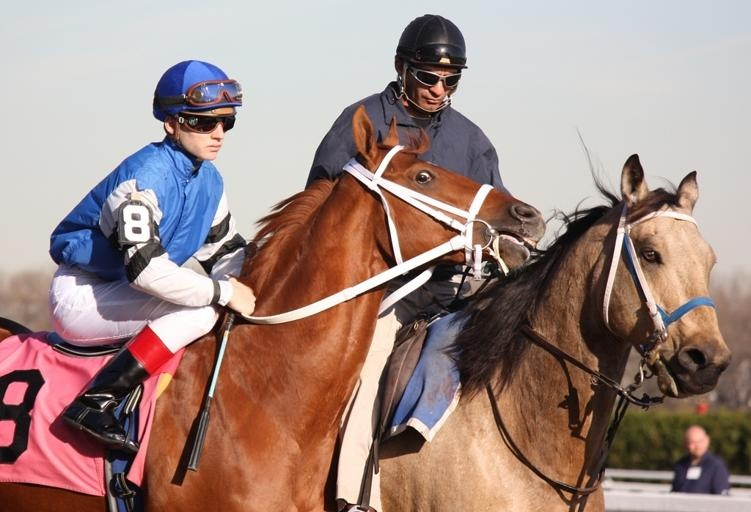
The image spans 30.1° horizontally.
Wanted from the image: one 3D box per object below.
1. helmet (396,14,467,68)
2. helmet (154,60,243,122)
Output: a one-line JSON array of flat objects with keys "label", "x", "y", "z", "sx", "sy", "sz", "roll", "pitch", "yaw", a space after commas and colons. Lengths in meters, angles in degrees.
[{"label": "helmet", "x": 0.345, "y": -1.292, "z": 8.350, "sx": 0.430, "sy": 0.301, "sz": 0.537, "roll": 6, "pitch": 7, "yaw": -18}, {"label": "helmet", "x": -0.943, "y": -0.896, "z": 7.441, "sx": 0.436, "sy": 0.299, "sz": 0.574, "roll": -8, "pitch": 11, "yaw": -33}]
